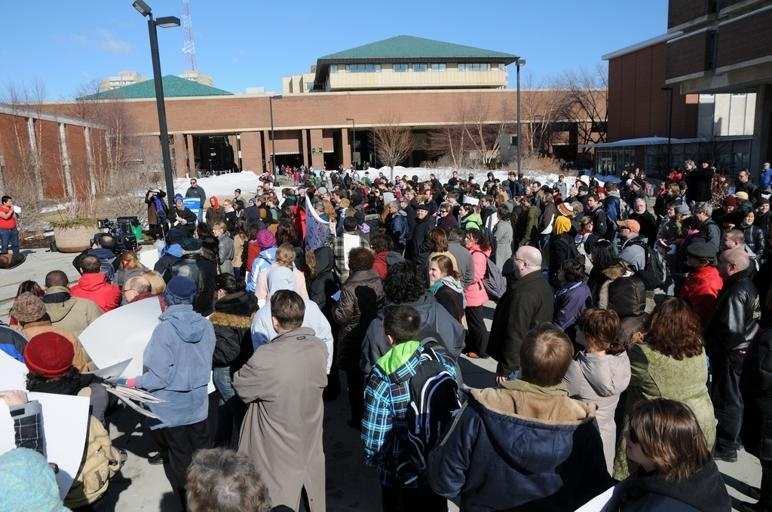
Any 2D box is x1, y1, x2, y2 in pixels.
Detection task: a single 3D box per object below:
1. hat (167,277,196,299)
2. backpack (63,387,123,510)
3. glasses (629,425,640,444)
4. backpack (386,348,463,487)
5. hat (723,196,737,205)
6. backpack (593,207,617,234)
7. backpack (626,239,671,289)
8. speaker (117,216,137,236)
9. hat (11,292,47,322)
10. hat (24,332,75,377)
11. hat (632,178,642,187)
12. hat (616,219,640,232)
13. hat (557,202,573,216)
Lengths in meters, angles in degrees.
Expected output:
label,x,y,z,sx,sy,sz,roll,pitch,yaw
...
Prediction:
label,x,y,z,sx,sy,sz,roll,pitch,yaw
hat,-2.048,0.321,5.791,0.271,0.221,0.176,-11,15,-23
backpack,-2.700,1.890,5.314,0.235,0.786,0.588,-3,13,6
glasses,1.749,1.261,4.082,0.060,0.093,0.079,-2,-21,4
backpack,0.398,1.408,5.034,0.630,1.200,0.366,-12,15,-31
hat,6.308,-1.002,10.551,0.190,0.160,0.211,10,47,25
backpack,4.275,-0.684,11.300,0.215,0.399,0.420,-25,33,15
backpack,3.610,0.121,7.956,0.424,0.614,0.586,-27,32,-20
speaker,-6.796,-0.783,15.161,0.421,0.612,0.617,2,2,-2
hat,-3.699,0.499,5.970,0.240,0.203,0.321,-24,38,-32
hat,-3.013,0.882,5.169,0.378,0.377,0.208,-10,14,-21
hat,8.498,-2.471,19.572,0.353,0.213,0.499,8,14,11
hat,3.660,-0.464,8.757,0.223,0.192,0.322,0,22,-35
hat,3.688,-0.953,11.870,0.353,0.155,0.243,15,36,-28
